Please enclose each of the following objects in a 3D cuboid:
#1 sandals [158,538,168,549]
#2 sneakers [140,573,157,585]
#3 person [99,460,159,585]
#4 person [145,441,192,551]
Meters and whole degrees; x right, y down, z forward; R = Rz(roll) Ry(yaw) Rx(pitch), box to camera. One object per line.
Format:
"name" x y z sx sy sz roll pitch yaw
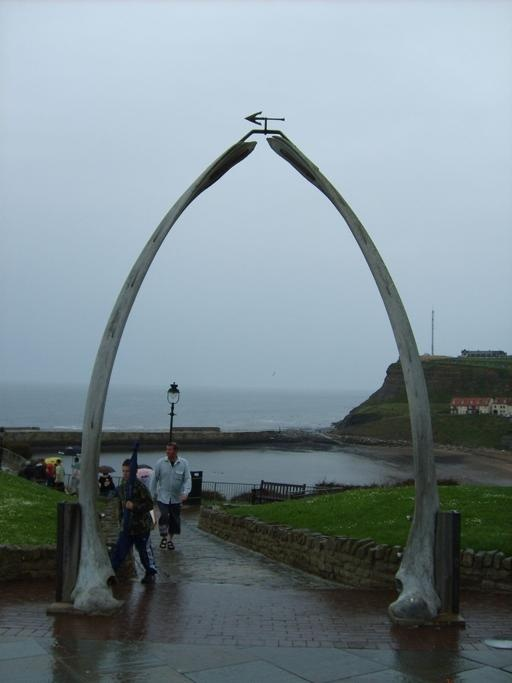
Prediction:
"sandals" -1.495 3.275 11.948 0.112 0.098 0.289 2 2 0
"sneakers" -1.306 2.948 9.089 0.183 0.163 0.091 5 -24 4
"person" -1.440 2.166 8.711 0.480 1.557 0.715 2 -4 -9
"person" -1.245 2.202 10.490 0.670 1.432 0.500 3 -6 -10
